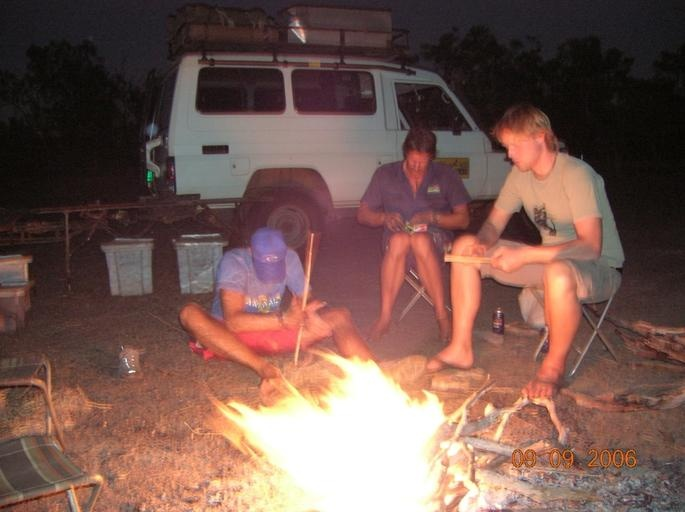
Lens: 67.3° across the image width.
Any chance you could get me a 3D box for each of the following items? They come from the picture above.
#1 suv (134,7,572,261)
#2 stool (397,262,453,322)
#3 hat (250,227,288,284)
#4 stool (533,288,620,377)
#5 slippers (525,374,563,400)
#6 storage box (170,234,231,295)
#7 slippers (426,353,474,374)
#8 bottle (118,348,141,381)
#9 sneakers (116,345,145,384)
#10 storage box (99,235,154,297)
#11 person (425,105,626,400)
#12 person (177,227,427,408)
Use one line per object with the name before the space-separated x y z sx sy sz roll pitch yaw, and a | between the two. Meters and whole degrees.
suv | -0.271 -1.865 7.449 4.415 2.904 2.588 -5 12 -14
stool | 0.716 0.356 4.856 0.492 0.741 0.536 -5 11 -2
hat | -0.502 -0.007 3.553 0.211 0.383 0.162 -6 -17 -13
stool | 1.670 0.570 3.714 0.479 0.737 0.386 -9 16 -7
slippers | 1.248 0.821 3.240 0.173 0.116 0.241 7 12 39
storage box | -1.564 0.033 6.029 0.699 0.754 0.654 2 19 -4
slippers | 0.787 0.773 3.765 0.325 0.156 0.138 9 14 16
bottle | -1.609 0.808 3.906 0.151 0.100 0.267 -4 42 -17
sneakers | -1.597 0.830 3.913 0.182 0.111 0.323 -3 48 -18
storage box | -2.329 0.057 5.903 0.567 0.707 0.644 3 16 -2
person | 1.288 -0.096 3.658 0.991 1.886 1.050 -9 12 -43
person | -0.491 0.360 3.709 0.937 0.891 1.348 -8 20 -31
